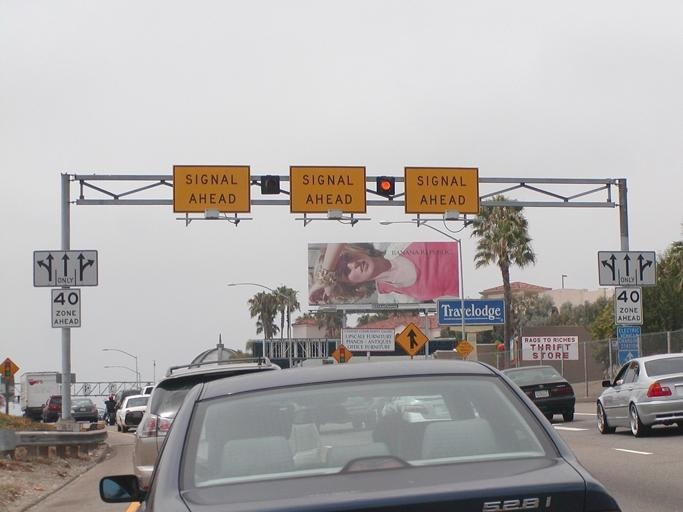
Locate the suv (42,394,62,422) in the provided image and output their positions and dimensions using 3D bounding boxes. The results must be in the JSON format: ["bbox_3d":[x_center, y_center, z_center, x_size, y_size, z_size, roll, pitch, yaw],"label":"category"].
[{"bbox_3d":[-12.745,6.700,63.336,0.653,1.221,2.471,0,-6,-15],"label":"suv"}]

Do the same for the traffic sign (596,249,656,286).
[{"bbox_3d":[8.645,0.316,43.285,1.666,1.120,1.137,-2,-5,10],"label":"traffic sign"}]

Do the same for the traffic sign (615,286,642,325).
[{"bbox_3d":[8.529,1.444,42.552,0.768,1.130,0.768,-2,-5,9],"label":"traffic sign"}]

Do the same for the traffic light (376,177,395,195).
[{"bbox_3d":[1.385,-2.227,44.427,0.579,0.533,0.512,-1,-5,3],"label":"traffic light"}]

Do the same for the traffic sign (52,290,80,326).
[{"bbox_3d":[-7.465,1.420,38.779,0.907,1.539,0.136,0,-4,-10],"label":"traffic sign"}]

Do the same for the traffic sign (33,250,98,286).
[{"bbox_3d":[-7.539,0.257,38.771,1.613,1.030,1.384,-2,-5,8],"label":"traffic sign"}]
